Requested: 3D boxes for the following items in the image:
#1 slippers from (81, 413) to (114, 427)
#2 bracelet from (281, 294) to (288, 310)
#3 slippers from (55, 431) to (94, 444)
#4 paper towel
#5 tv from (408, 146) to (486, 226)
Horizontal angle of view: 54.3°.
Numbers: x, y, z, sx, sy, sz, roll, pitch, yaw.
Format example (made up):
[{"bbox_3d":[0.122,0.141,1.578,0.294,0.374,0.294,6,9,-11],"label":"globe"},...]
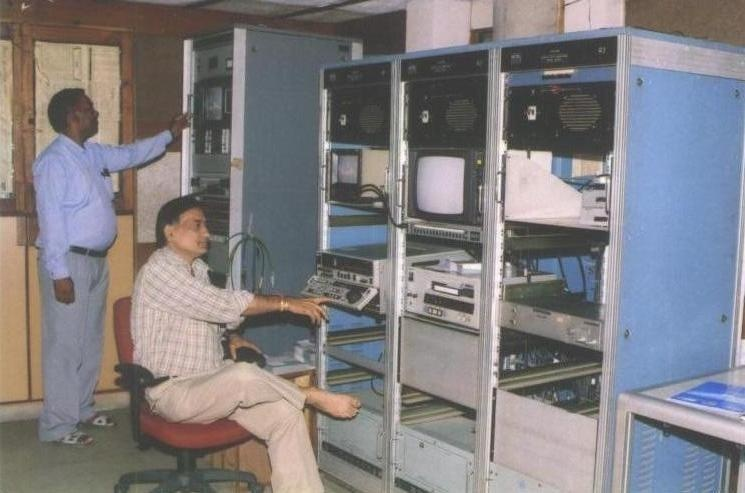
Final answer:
[{"bbox_3d":[-2.081,1.342,5.564,0.215,0.065,0.104,-1,0,36],"label":"slippers"},{"bbox_3d":[-0.531,0.354,4.417,0.051,0.062,0.025,0,0,40],"label":"bracelet"},{"bbox_3d":[-2.172,1.386,5.301,0.233,0.064,0.105,-2,3,8],"label":"slippers"},{"bbox_3d":[0.907,-0.310,3.842,0.412,0.342,0.164,1,9,4],"label":"paper towel"},{"bbox_3d":[0.438,-0.343,4.095,0.276,0.396,0.501,1,1,-43],"label":"tv"}]
